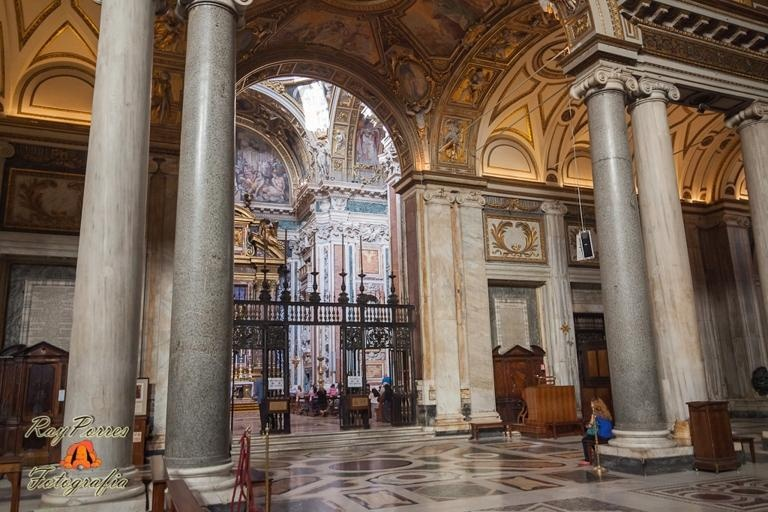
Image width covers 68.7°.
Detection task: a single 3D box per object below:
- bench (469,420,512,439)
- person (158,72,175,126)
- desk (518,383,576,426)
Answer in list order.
[{"bbox_3d":[2.653,4.303,14.002,1.028,0.390,0.834,-4,-13,7],"label":"bench"},{"bbox_3d":[-4.915,-3.594,12.668,0.293,0.960,0.578,3,-15,-21],"label":"person"},{"bbox_3d":[4.153,3.713,14.123,1.103,0.921,0.832,0,-10,-13],"label":"desk"}]
